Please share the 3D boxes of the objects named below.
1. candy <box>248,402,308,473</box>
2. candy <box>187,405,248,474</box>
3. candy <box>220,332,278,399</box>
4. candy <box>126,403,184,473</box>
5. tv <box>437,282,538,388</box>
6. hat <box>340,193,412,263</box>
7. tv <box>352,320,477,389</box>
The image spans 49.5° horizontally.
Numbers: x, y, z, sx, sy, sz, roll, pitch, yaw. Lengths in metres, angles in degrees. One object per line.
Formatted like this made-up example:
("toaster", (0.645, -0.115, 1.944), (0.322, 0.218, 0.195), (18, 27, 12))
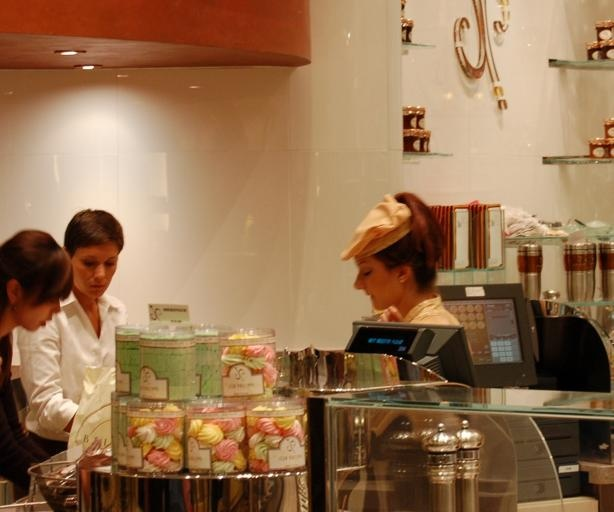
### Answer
("candy", (-0.061, 0.328, 1.246), (0.118, 0.121, 0.116), (0, -4, -10))
("candy", (-0.163, 0.333, 1.240), (0.116, 0.122, 0.115), (0, -5, 5))
("candy", (-0.110, 0.214, 1.289), (0.112, 0.125, 0.112), (0, -4, -1))
("candy", (-0.287, 0.348, 1.312), (0.125, 0.131, 0.117), (1, -4, -12))
("tv", (0.684, 0.302, 2.525), (0.398, 0.390, 0.214), (-4, -10, -4))
("hat", (0.238, -0.077, 2.276), (0.223, 0.117, 0.171), (-30, 22, 16))
("tv", (0.237, 0.258, 1.682), (0.319, 0.152, 0.218), (12, -25, -23))
